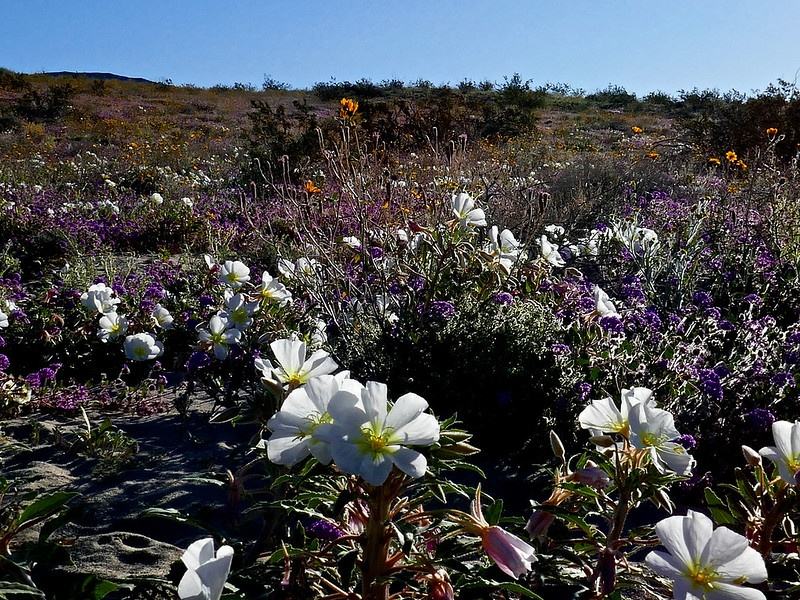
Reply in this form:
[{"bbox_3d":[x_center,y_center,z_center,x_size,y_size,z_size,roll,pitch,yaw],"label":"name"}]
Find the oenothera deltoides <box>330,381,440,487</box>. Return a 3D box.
[{"bbox_3d":[-0.043,0.312,1.473,0.266,0.226,0.143,2,11,1],"label":"oenothera deltoides"}]
